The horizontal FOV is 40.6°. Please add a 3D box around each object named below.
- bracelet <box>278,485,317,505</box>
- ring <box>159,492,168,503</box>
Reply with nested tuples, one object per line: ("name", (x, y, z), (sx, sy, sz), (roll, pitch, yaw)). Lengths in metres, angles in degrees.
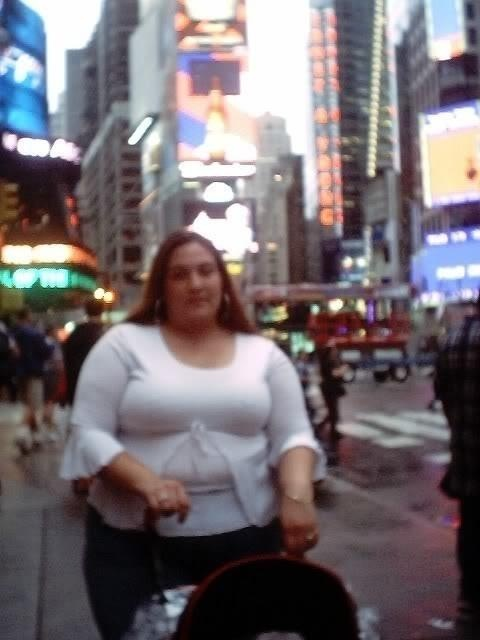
("bracelet", (0.128, 0.361, 1.345), (0.046, 0.032, 0.045), (2, -9, -13))
("ring", (-0.149, 0.346, 1.252), (0.016, 0.016, 0.004), (15, -17, -18))
